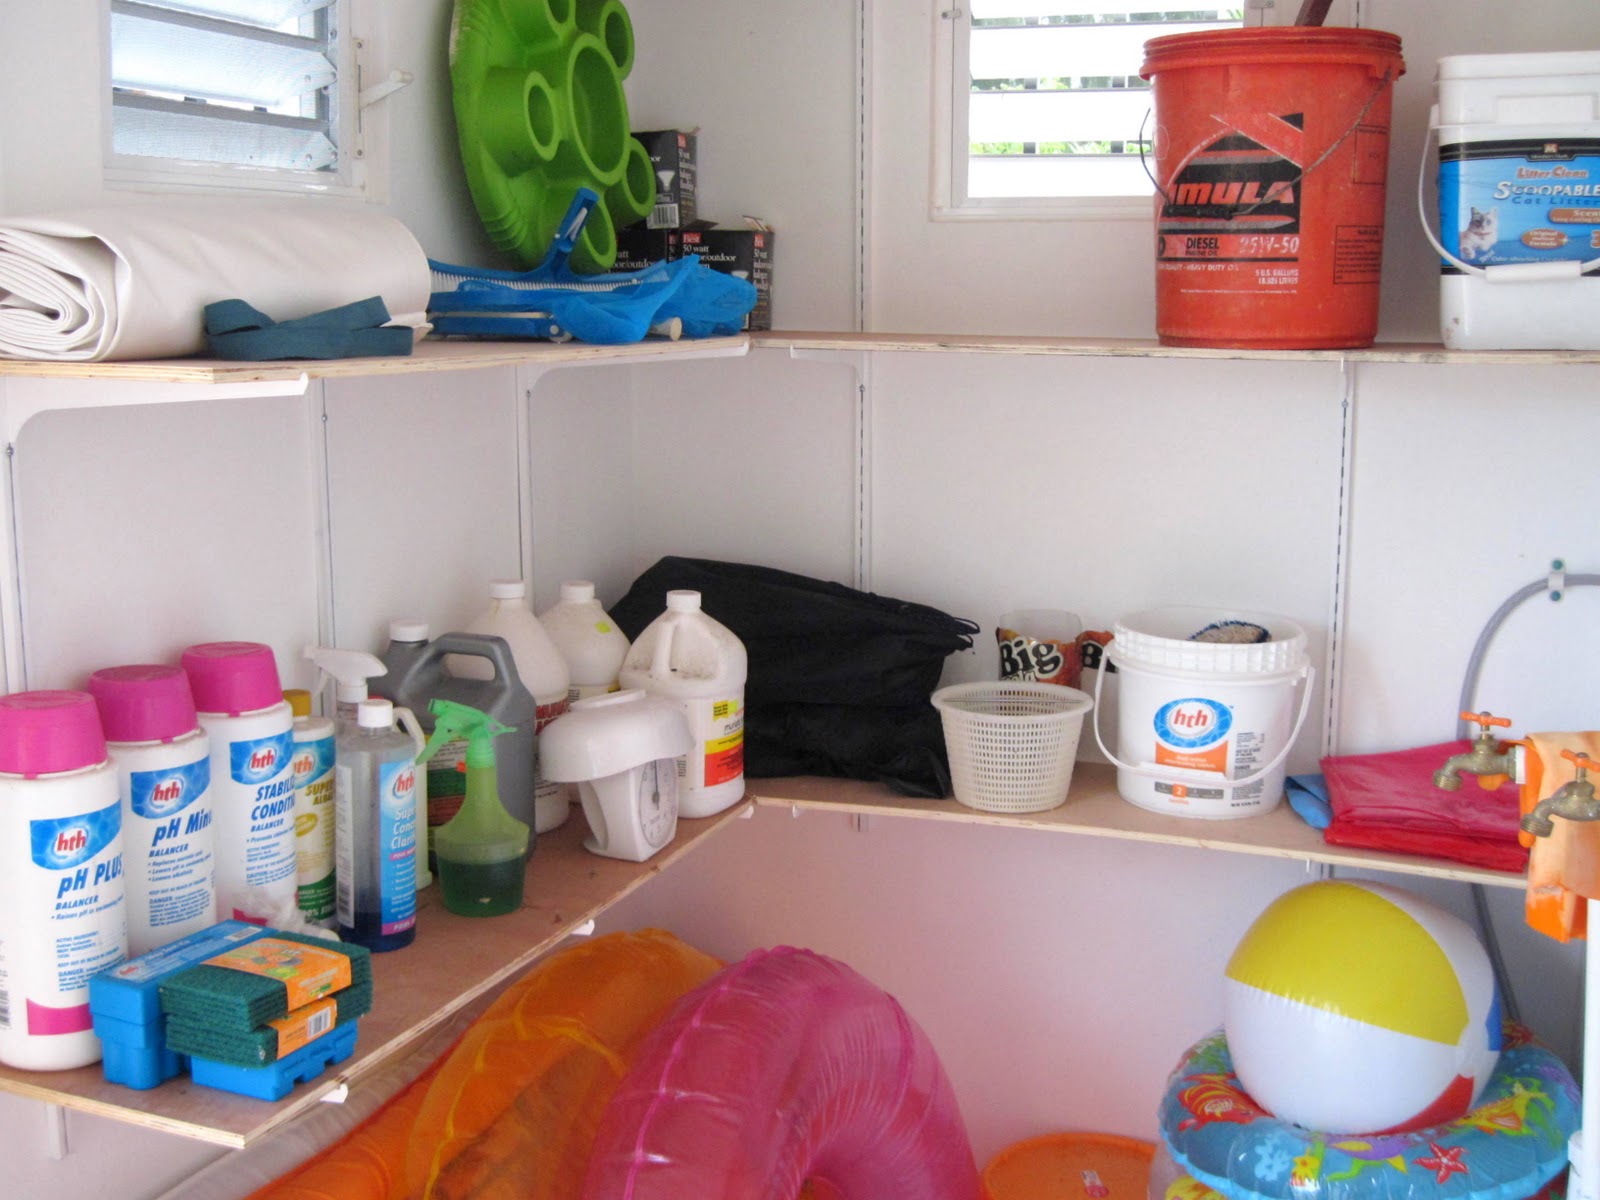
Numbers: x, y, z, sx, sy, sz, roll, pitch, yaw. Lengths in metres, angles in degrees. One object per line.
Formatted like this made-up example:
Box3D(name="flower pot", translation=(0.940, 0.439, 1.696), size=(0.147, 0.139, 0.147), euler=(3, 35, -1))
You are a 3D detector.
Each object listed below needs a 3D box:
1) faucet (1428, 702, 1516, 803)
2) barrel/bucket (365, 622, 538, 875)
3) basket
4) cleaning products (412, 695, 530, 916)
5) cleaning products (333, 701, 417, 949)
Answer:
Box3D(name="faucet", translation=(0.927, 0.207, 1.698), size=(0.089, 0.130, 0.251), euler=(7, 16, 30))
Box3D(name="barrel/bucket", translation=(-0.506, 0.212, 1.851), size=(0.151, 0.344, 0.209), euler=(10, 16, 18))
Box3D(name="basket", translation=(0.382, 0.262, 2.248), size=(0.278, 0.185, 0.215), euler=(2, 14, 13))
Box3D(name="cleaning products", translation=(-0.441, 0.275, 1.708), size=(0.121, 0.300, 0.140), euler=(-7, 15, -22))
Box3D(name="cleaning products", translation=(-0.546, 0.291, 1.614), size=(0.100, 0.322, 0.115), euler=(1, 8, -10))
